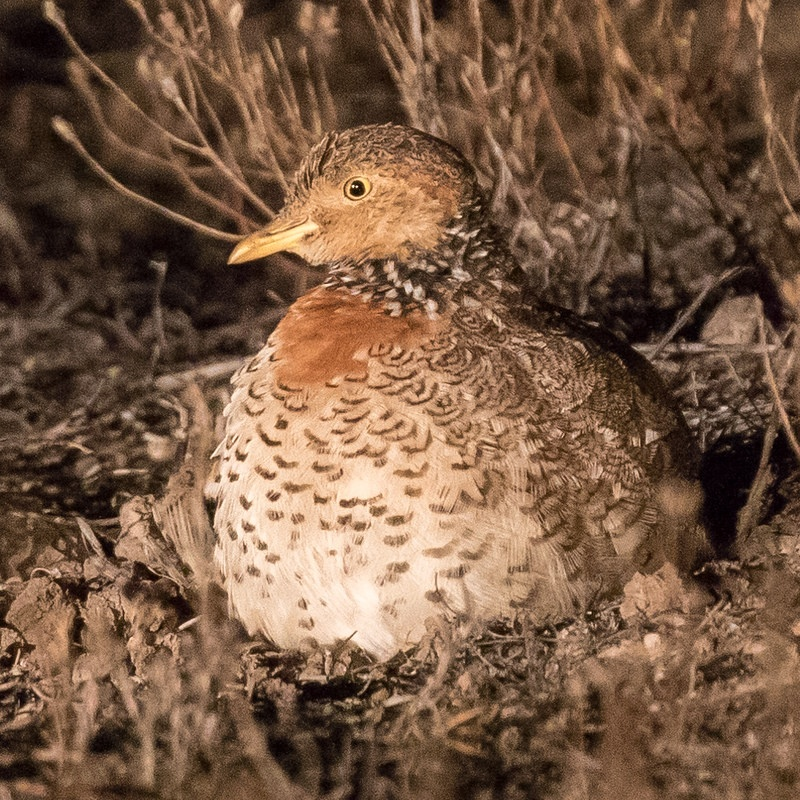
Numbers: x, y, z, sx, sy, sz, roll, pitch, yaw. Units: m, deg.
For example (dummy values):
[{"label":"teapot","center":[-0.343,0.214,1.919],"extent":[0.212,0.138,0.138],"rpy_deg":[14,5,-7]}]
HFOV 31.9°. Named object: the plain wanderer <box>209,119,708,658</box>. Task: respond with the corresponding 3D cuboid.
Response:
[{"label":"plain wanderer","center":[0.079,0.000,1.858],"extent":[0.648,0.391,0.623],"rpy_deg":[0,57,10]}]
